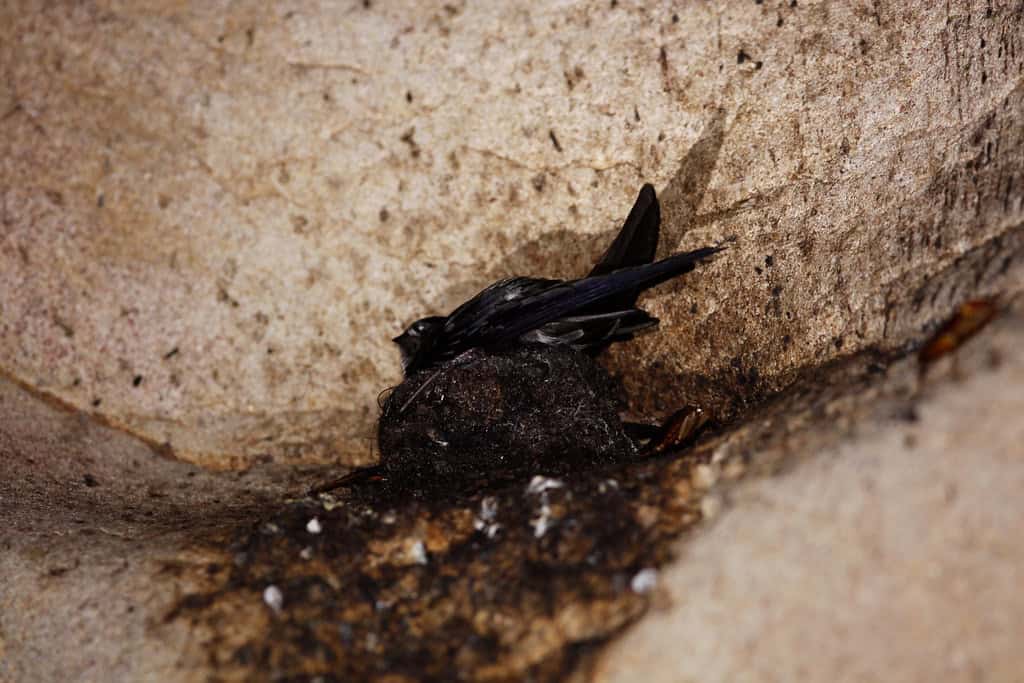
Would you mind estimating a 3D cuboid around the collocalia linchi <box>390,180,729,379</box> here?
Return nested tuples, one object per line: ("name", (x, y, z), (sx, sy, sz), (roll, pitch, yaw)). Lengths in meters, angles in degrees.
("collocalia linchi", (0.214, -0.224, 6.692), (0.783, 0.227, 0.382), (-27, 27, 3))
